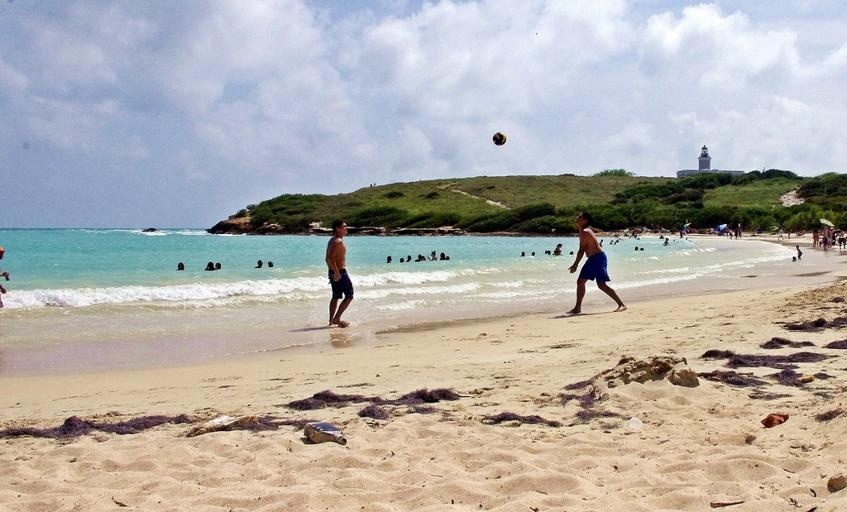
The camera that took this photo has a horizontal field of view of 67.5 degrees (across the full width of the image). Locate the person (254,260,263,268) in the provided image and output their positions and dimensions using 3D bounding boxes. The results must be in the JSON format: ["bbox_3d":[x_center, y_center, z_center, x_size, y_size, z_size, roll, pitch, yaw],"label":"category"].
[{"bbox_3d":[-8.011,0.377,30.731,0.479,0.498,1.338,2,-1,-16],"label":"person"}]

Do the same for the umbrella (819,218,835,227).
[{"bbox_3d":[34.844,-2.948,54.703,1.264,0.361,1.149,-11,25,-28],"label":"umbrella"}]
